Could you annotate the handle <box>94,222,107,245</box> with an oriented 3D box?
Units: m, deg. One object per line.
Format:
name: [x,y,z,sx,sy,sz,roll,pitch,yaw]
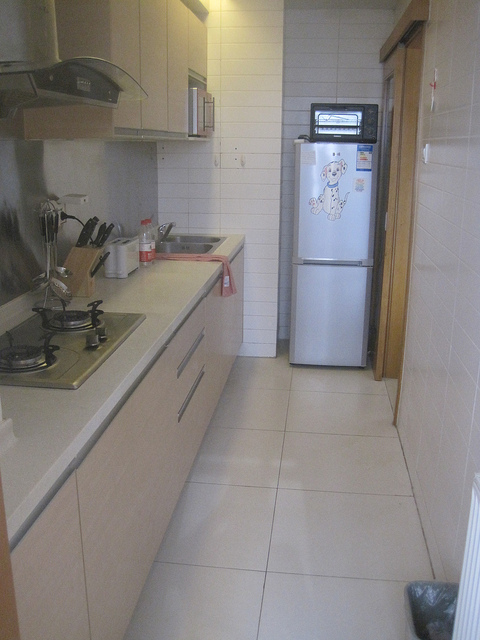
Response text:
handle: [-0.683,-0.443,2.377,0.030,0.038,0.150,9,61,-3]

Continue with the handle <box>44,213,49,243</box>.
handle: [-0.757,-0.361,1.883,0.018,0.114,0.035,-5,13,-23]

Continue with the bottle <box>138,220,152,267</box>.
bottle: [-0.557,-0.453,2.829,0.076,0.257,0.162,-2,13,-12]

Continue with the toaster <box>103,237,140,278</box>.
toaster: [-0.653,-0.295,2.592,0.113,0.187,0.249,0,-1,-7]

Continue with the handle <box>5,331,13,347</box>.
handle: [-0.696,0.058,1.450,0.007,0.038,0.025,-14,7,-15]

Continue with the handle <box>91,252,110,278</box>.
handle: [-0.648,-0.265,2.242,0.022,0.020,0.183,16,64,4]

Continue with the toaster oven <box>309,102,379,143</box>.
toaster oven: [0.777,-1.509,3.667,0.441,0.349,0.410,4,17,4]

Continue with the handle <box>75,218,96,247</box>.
handle: [-0.729,-0.415,2.280,0.095,0.125,0.059,-5,14,-21]
